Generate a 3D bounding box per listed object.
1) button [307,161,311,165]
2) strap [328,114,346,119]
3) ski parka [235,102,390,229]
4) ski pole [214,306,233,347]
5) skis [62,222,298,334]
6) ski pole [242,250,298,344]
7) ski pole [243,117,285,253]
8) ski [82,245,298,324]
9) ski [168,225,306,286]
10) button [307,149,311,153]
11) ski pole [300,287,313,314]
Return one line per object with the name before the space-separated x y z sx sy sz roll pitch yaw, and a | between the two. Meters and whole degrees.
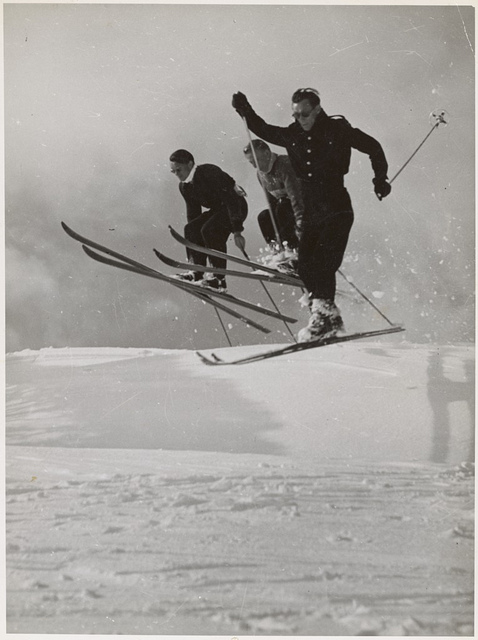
button | 0.242 -0.556 3.222 0.013 0.013 0.003 5 -3 5
strap | 0.339 -0.717 3.203 0.082 0.009 0.011 2 15 -1
ski parka | 0.272 -0.564 3.214 0.303 0.460 0.151 -18 6 32
ski pole | -0.058 0.028 3.213 0.016 0.144 0.011 -23 0 38
skis | -0.234 -0.135 3.220 0.770 0.088 0.103 21 35 -6
ski pole | 0.106 -0.068 3.218 0.025 0.362 0.027 -20 -19 -43
ski pole | 0.086 -0.496 3.227 0.038 0.490 0.035 -18 0 -35
ski | -0.197 -0.117 3.220 0.542 0.050 0.059 23 19 -8
ski | -0.014 -0.222 3.227 0.474 0.054 0.033 22 12 -5
button | 0.245 -0.599 3.218 0.011 0.011 0.003 12 -2 0
ski pole | 0.237 -0.076 3.215 0.013 0.117 0.013 -14 -9 11
